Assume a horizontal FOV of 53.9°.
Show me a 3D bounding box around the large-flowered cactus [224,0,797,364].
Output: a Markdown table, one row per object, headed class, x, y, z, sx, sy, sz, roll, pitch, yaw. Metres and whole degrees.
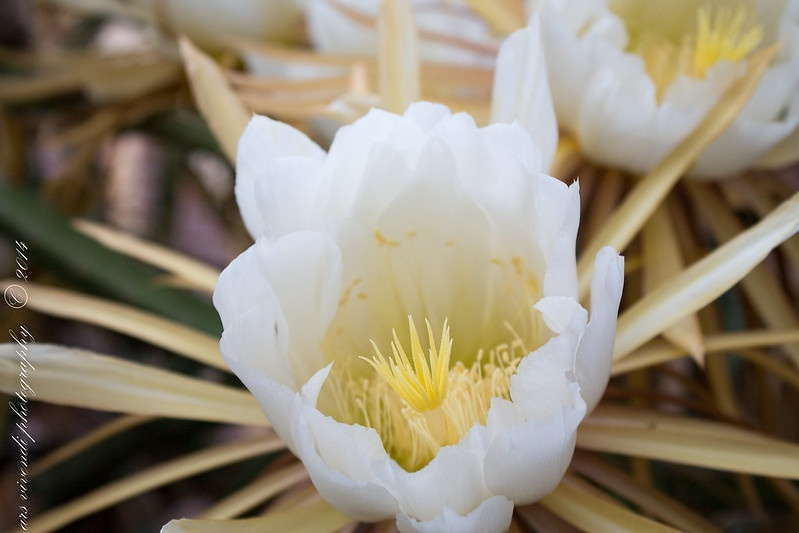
| class | x | y | z | sx | sy | sz | roll | pitch | yaw |
| --- | --- | --- | --- | --- | --- | --- | --- | --- | --- |
| large-flowered cactus | 0.207 | -0.133 | 0.891 | 0.419 | 0.149 | 0.417 | -42 | 28 | -16 |
